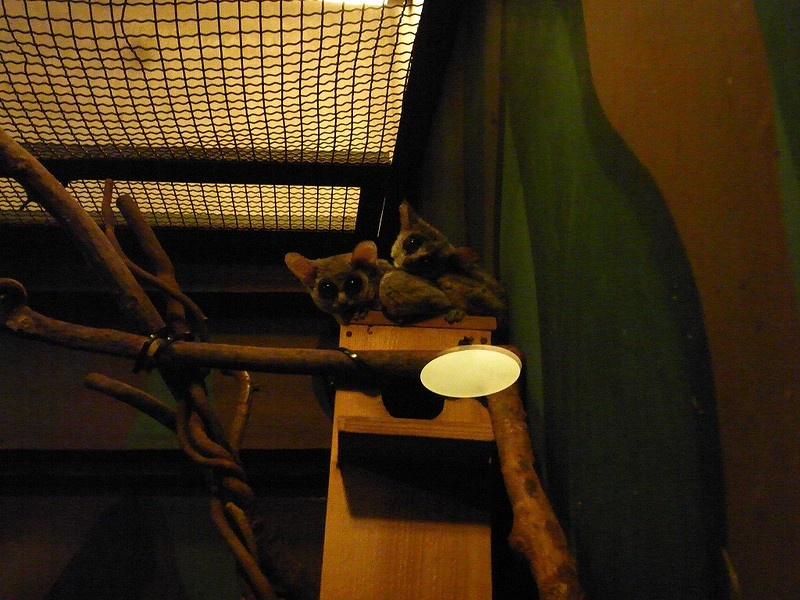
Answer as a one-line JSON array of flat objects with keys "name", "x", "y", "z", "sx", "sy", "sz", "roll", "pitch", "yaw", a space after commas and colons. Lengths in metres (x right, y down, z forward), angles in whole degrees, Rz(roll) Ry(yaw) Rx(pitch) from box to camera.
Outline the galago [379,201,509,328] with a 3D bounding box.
[{"name": "galago", "x": 0.108, "y": -0.089, "z": 2.502, "sx": 0.310, "sy": 0.377, "sz": 0.298, "roll": 11, "pitch": 89, "yaw": 15}]

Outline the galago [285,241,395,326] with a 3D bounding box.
[{"name": "galago", "x": -0.162, "y": -0.041, "z": 2.384, "sx": 0.281, "sy": 0.156, "sz": 0.191, "roll": 2, "pitch": 50, "yaw": -3}]

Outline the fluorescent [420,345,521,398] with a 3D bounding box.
[{"name": "fluorescent", "x": 0.179, "y": 0.173, "z": 2.043, "sx": 0.222, "sy": 0.010, "sz": 0.271, "roll": 12, "pitch": 26, "yaw": 20}]
